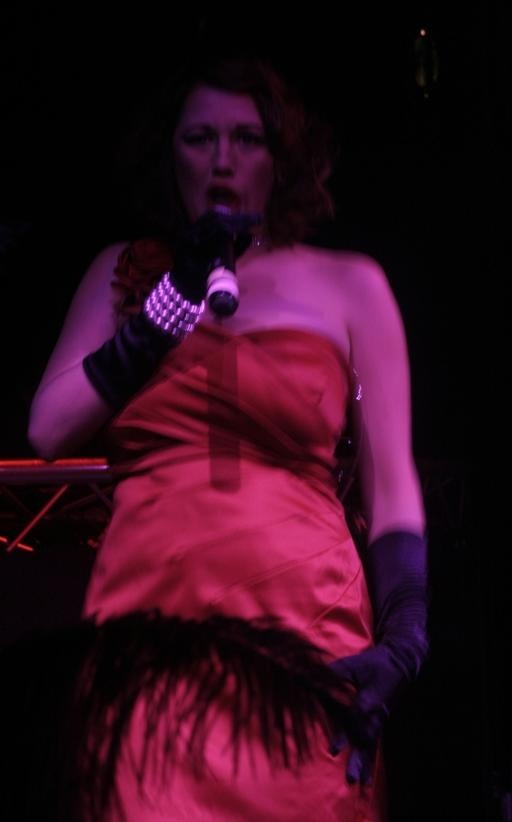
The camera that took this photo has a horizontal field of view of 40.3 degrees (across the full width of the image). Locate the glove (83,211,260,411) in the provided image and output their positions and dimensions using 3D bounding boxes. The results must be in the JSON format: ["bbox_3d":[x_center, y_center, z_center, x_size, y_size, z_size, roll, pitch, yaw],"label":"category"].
[{"bbox_3d":[-0.126,-0.124,0.991,0.113,0.075,0.351,39,45,-15],"label":"glove"}]

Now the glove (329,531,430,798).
[{"bbox_3d":[0.167,0.291,0.848,0.102,0.116,0.361,34,26,0],"label":"glove"}]

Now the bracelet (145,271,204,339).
[{"bbox_3d":[-0.127,-0.134,0.947,0.046,0.068,0.052,-13,-8,-19],"label":"bracelet"}]
